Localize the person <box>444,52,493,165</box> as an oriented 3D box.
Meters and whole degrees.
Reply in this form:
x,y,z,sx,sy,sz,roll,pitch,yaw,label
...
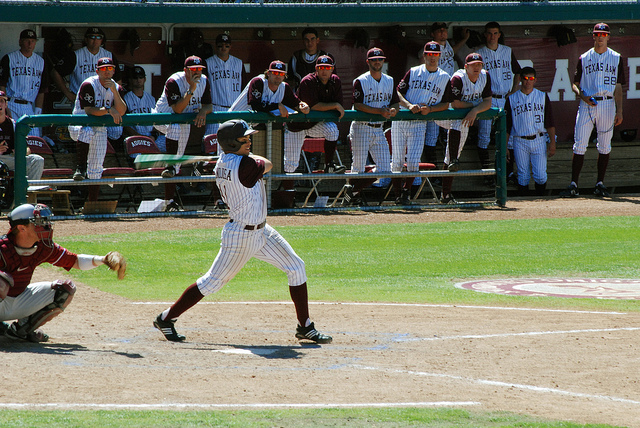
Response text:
x,y,z,sx,sy,sz,roll,pitch,yaw,label
2.531,-1.825,20.243,0.783,1.877,0.507,1,1,5,person

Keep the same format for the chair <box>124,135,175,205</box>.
x,y,z,sx,sy,sz,roll,pitch,yaw,label
-2.815,-0.804,19.922,0.802,1.025,0.885,-7,14,-25,chair

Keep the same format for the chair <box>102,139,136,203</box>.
x,y,z,sx,sy,sz,roll,pitch,yaw,label
-3.564,-0.749,20.400,0.611,0.849,0.671,4,-4,-2,chair

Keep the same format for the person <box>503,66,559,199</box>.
x,y,z,sx,sy,sz,roll,pitch,yaw,label
3.838,-1.533,21.644,0.898,2.346,1.205,1,1,9,person

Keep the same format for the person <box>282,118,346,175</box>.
x,y,z,sx,sy,sz,roll,pitch,yaw,label
-0.045,-1.209,19.657,1.372,1.045,0.634,0,-2,38,person

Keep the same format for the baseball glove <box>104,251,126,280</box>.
x,y,z,sx,sy,sz,roll,pitch,yaw,label
-2.405,0.613,14.048,0.290,0.351,0.139,28,50,17,baseball glove

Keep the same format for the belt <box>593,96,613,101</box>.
x,y,z,sx,sy,sz,roll,pitch,yaw,label
5.062,-2.099,21.119,0.314,0.078,0.047,0,1,-2,belt

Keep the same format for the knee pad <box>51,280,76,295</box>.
x,y,z,sx,sy,sz,roll,pitch,yaw,label
-3.053,0.858,14.065,0.240,0.110,0.166,12,7,-8,knee pad

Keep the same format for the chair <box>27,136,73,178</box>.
x,y,z,sx,sy,sz,roll,pitch,yaw,label
-4.668,-0.995,20.471,0.726,0.704,2.705,0,1,-12,chair

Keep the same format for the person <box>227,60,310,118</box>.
x,y,z,sx,sy,sz,roll,pitch,yaw,label
-0.907,-2.070,19.755,0.990,0.825,1.784,-7,5,-41,person

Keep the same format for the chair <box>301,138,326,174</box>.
x,y,z,sx,sy,sz,roll,pitch,yaw,label
-0.115,-1.146,20.711,0.480,0.566,0.446,-2,36,-9,chair

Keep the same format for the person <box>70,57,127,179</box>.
x,y,z,sx,sy,sz,roll,pitch,yaw,label
-3.679,-1.575,19.520,0.882,1.950,1.364,0,1,-11,person

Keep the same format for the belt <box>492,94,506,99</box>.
x,y,z,sx,sy,sz,roll,pitch,yaw,label
3.337,-2.220,22.017,0.273,0.083,0.065,0,1,-28,belt

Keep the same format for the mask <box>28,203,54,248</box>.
x,y,z,sx,sy,sz,roll,pitch,yaw,label
-3.309,0.130,13.990,0.304,0.514,0.265,0,1,-16,mask
